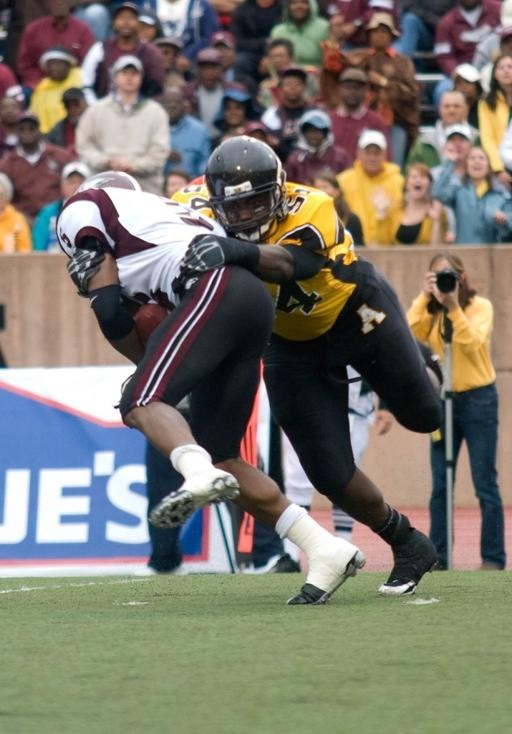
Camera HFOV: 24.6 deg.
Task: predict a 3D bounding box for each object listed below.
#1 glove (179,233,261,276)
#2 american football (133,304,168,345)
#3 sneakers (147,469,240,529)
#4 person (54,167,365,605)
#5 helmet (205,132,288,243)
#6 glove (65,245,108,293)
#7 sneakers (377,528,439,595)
[{"bbox_3d":[-0.112,-0.361,3.766,0.297,0.087,0.099,-4,-12,-39],"label":"glove"},{"bbox_3d":[-0.381,-0.147,3.958,0.105,0.133,0.048,40,28,8],"label":"american football"},{"bbox_3d":[-0.181,0.390,3.417,0.256,0.135,0.247,-3,-2,-3],"label":"sneakers"},{"bbox_3d":[-0.267,0.066,3.846,0.721,1.180,1.028,-4,-2,23],"label":"person"},{"bbox_3d":[-0.044,-0.642,4.060,0.304,0.280,0.349,-10,34,1],"label":"helmet"},{"bbox_3d":[-0.556,-0.337,3.875,0.133,0.115,0.096,-33,23,-11],"label":"glove"},{"bbox_3d":[0.553,0.740,4.508,0.130,0.215,0.363,-7,12,36],"label":"sneakers"}]
